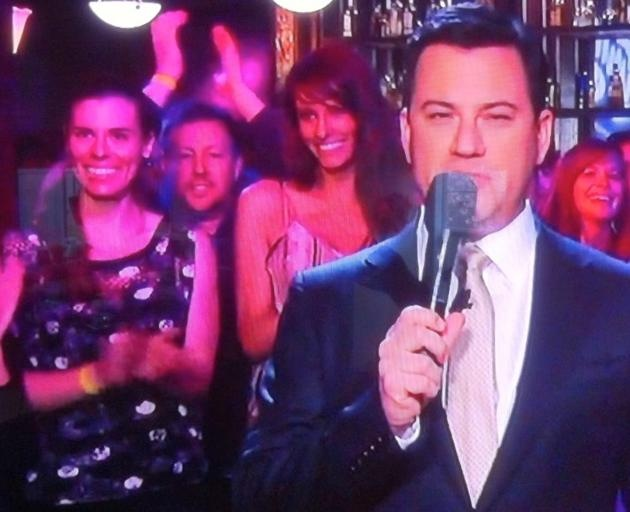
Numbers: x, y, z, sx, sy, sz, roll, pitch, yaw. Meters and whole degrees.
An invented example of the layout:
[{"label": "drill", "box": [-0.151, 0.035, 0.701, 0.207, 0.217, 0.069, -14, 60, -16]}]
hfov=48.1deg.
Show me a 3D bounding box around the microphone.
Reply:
[{"label": "microphone", "box": [0.264, -0.029, 1.447, 0.088, 0.274, 0.128, 8, 12, 35]}]
